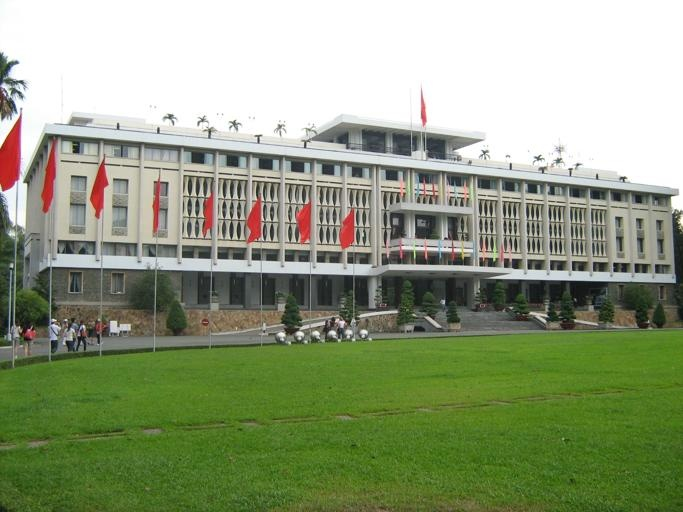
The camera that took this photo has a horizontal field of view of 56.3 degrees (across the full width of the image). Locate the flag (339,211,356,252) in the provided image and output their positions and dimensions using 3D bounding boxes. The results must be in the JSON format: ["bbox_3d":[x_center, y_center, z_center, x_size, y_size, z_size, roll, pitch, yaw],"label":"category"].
[{"bbox_3d":[0.499,-2.631,58.443,1.216,3.600,1.751,0,-2,-6],"label":"flag"}]

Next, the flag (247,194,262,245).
[{"bbox_3d":[-7.359,-3.117,52.864,1.305,4.684,0.315,-6,36,-16],"label":"flag"}]
